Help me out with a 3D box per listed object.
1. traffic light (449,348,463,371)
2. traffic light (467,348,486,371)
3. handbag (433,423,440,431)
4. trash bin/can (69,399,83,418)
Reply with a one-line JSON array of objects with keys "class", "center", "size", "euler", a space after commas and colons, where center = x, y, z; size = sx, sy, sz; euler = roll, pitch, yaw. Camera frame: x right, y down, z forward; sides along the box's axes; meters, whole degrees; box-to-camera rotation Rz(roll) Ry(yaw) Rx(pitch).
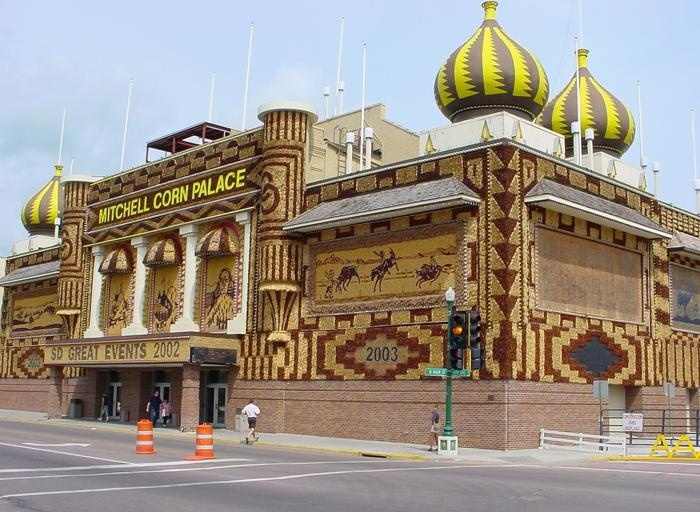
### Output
[{"class": "traffic light", "center": [4.120, 3.951, 35.217], "size": [0.446, 0.751, 0.370], "euler": [1, -16, -2]}, {"class": "traffic light", "center": [4.943, 3.912, 35.219], "size": [0.402, 0.830, 0.613], "euler": [-12, -20, 35]}, {"class": "handbag", "center": [3.533, 6.981, 37.238], "size": [0.235, 0.313, 0.334], "euler": [0, -7, -10]}, {"class": "trash bin/can", "center": [-17.139, 9.460, 56.876], "size": [0.815, 1.209, 0.438], "euler": [11, -19, -32]}]
